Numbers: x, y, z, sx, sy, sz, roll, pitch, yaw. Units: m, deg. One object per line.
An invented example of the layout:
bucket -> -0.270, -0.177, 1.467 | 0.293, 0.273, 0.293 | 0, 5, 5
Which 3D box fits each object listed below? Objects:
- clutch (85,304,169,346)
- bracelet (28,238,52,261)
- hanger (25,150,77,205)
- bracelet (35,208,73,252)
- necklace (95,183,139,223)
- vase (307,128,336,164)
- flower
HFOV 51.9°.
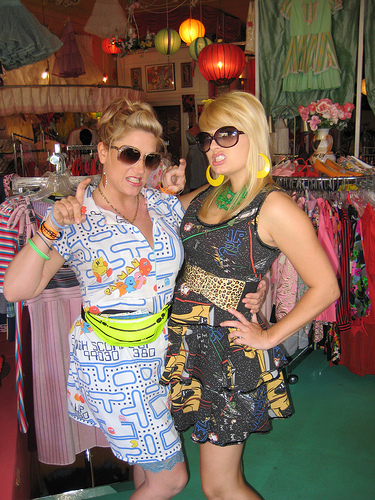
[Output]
clutch -> -0.178, 0.214, 1.105 | 0.266, 0.106, 0.085 | 9, -4, -43
bracelet -> -0.389, 0.000, 1.018 | 0.053, 0.055, 0.014 | 34, 70, 23
hanger -> -0.565, -0.304, 1.670 | 0.171, 0.248, 0.239 | -13, 22, -38
bracelet -> -0.362, -0.052, 1.010 | 0.083, 0.107, 0.055 | 1, 3, -13
necklace -> -0.199, -0.161, 1.267 | 0.138, 0.136, 0.155 | 16, 20, 41
vase -> 1.044, -0.818, 3.037 | 0.200, 0.272, 0.135 | -12, 21, -31
flower -> 1.152, -1.086, 3.209 | 0.541, 0.352, 0.360 | 4, 15, 18
